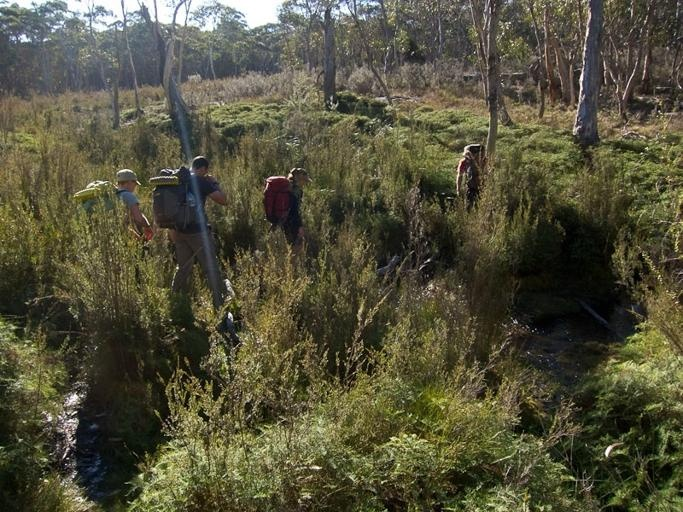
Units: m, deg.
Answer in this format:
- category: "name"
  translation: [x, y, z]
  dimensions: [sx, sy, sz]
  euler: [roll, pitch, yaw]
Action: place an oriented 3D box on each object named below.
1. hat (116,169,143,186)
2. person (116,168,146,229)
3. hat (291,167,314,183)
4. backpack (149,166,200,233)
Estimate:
- category: "hat"
  translation: [-2.939, -1.083, 8.533]
  dimensions: [0.239, 0.213, 0.337]
  euler: [13, 12, 42]
- category: "person"
  translation: [-2.860, -0.733, 8.392]
  dimensions: [0.352, 0.847, 0.734]
  euler: [-4, 9, -21]
- category: "hat"
  translation: [-0.648, -1.195, 9.197]
  dimensions: [0.265, 0.190, 0.207]
  euler: [-3, 8, -7]
- category: "backpack"
  translation: [-2.178, -0.730, 8.091]
  dimensions: [0.567, 0.826, 0.281]
  euler: [-4, 8, -20]
